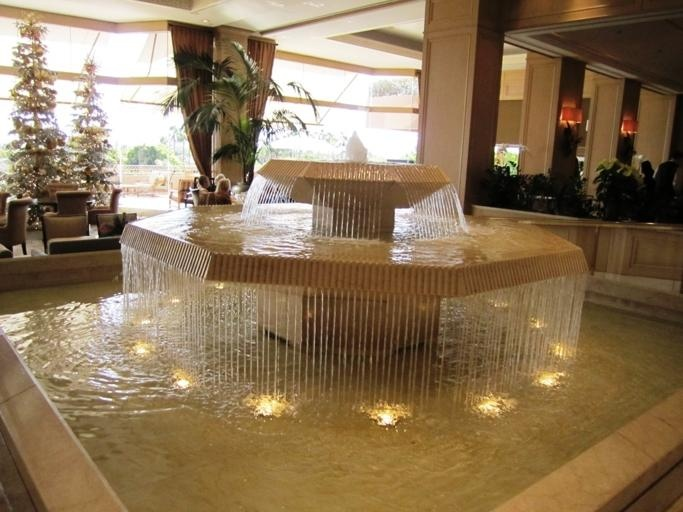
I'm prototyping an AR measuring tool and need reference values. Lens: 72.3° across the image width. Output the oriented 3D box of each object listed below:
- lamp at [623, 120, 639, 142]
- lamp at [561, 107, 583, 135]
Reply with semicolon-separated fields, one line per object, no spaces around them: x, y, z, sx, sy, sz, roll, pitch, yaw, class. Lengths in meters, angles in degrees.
6.211;-2.732;10.031;0.220;0.438;0.709;8;12;38;lamp
4.271;-2.518;8.623;0.610;0.471;0.201;-8;13;-40;lamp
